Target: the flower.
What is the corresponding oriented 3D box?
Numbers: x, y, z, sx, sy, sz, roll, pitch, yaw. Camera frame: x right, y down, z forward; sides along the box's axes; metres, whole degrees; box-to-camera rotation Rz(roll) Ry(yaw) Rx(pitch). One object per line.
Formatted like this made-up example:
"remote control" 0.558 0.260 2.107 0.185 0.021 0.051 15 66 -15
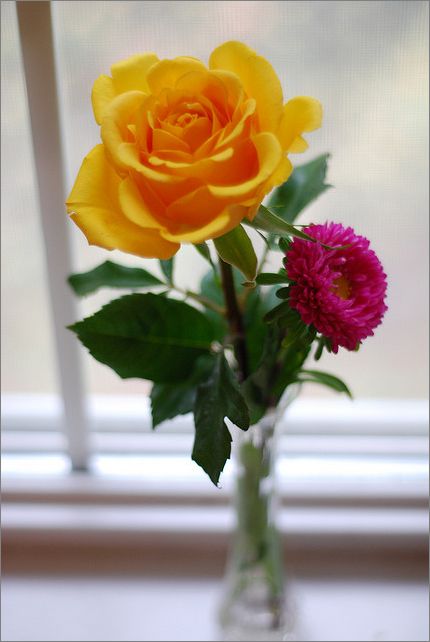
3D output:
"flower" -0.007 0.044 0.558 0.247 0.537 0.288 -1 18 -13
